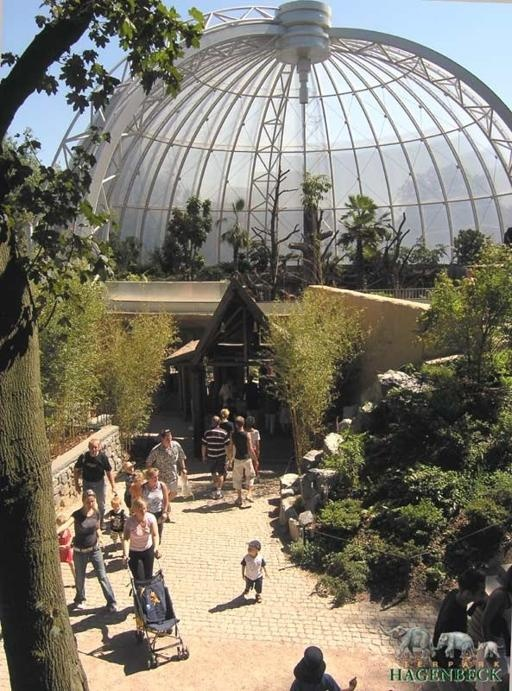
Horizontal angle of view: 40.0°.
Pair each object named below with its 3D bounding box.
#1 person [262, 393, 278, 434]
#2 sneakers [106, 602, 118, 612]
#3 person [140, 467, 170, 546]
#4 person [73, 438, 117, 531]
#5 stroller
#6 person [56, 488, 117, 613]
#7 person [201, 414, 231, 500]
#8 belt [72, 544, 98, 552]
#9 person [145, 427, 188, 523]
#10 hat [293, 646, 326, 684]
[{"bbox_3d":[0.397,1.858,19.281,0.380,1.020,1.048,1,4,1],"label":"person"},{"bbox_3d":[-1.656,3.007,8.077,0.111,0.088,0.156,15,1,-26],"label":"sneakers"},{"bbox_3d":[-1.327,2.203,9.096,0.336,1.215,0.342,-2,13,-12],"label":"person"},{"bbox_3d":[-2.296,2.007,10.229,0.602,1.424,0.359,5,24,2],"label":"person"},{"bbox_3d":[-1.012,2.824,7.357,0.436,0.765,1.100,-4,5,-21],"label":"stroller"},{"bbox_3d":[-1.865,2.376,8.114,0.550,1.383,0.444,2,5,8],"label":"person"},{"bbox_3d":[-0.734,2.040,13.170,0.465,1.638,1.475,1,4,-2],"label":"person"},{"bbox_3d":[-1.933,2.293,7.991,0.254,0.100,0.095,0,4,-13],"label":"belt"},{"bbox_3d":[-1.403,2.043,11.139,0.596,1.462,0.395,-4,17,-18],"label":"person"},{"bbox_3d":[0.425,2.507,5.528,0.213,0.254,0.187,-2,5,-31],"label":"hat"}]
